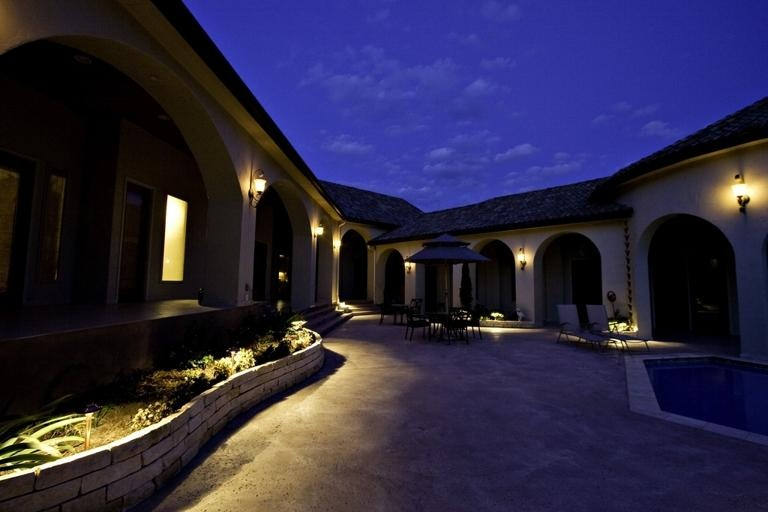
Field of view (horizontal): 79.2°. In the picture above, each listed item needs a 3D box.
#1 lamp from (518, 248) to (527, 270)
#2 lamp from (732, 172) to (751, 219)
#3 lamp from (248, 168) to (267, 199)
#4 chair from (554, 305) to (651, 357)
[{"bbox_3d":[5.502,0.105,18.549,0.324,0.902,0.160,1,3,19],"label":"lamp"},{"bbox_3d":[9.731,-1.725,12.677,0.402,1.130,0.238,2,3,38],"label":"lamp"},{"bbox_3d":[-3.137,-1.807,11.729,0.423,0.914,0.425,-1,-13,5],"label":"lamp"},{"bbox_3d":[6.614,2.186,14.600,2.143,1.216,2.623,0,2,-16],"label":"chair"}]
